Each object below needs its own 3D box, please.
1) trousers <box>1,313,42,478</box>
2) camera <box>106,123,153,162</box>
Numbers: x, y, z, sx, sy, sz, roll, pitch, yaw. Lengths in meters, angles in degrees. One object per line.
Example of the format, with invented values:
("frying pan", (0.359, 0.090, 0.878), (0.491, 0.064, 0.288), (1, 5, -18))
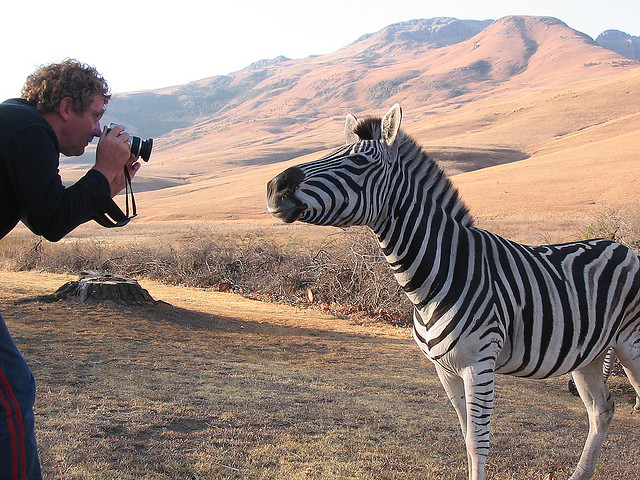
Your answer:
("trousers", (-2.040, 1.072, 4.378), (0.256, 1.027, 0.202), (3, 4, -24))
("camera", (-1.431, -0.701, 4.902), (0.342, 0.202, 0.309), (19, -7, -36))
